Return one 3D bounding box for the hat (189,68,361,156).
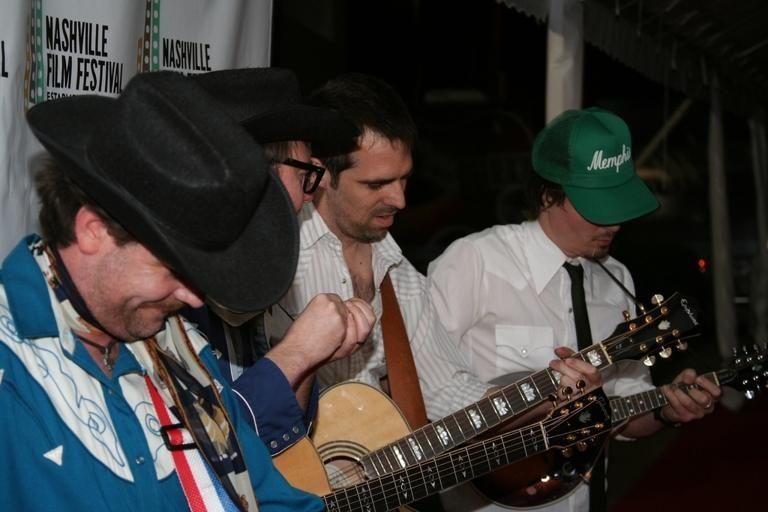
[{"bbox_3d":[-0.465,-0.636,3.714,0.505,0.216,0.497,18,-8,-5],"label":"hat"}]

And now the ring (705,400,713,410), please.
[{"bbox_3d":[1.720,0.787,4.421,0.048,0.021,0.038,-34,6,-14],"label":"ring"}]

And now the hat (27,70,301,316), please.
[{"bbox_3d":[-0.758,-0.289,3.171,0.392,1.011,0.824,-38,2,38],"label":"hat"}]

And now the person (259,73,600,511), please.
[{"bbox_3d":[-0.130,0.246,4.673,1.037,2.400,0.301,-10,12,-28],"label":"person"}]

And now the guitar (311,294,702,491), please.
[{"bbox_3d":[0.670,0.591,4.535,2.222,0.903,0.316,-24,6,-16],"label":"guitar"}]

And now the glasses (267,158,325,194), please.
[{"bbox_3d":[-0.394,-0.357,3.906,0.159,0.060,0.170,20,-5,3],"label":"glasses"}]

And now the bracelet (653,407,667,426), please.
[{"bbox_3d":[1.487,0.864,4.513,0.035,0.110,0.070,-10,15,-41],"label":"bracelet"}]

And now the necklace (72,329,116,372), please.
[{"bbox_3d":[-1.146,0.379,3.355,0.042,0.188,0.106,-25,24,18],"label":"necklace"}]
